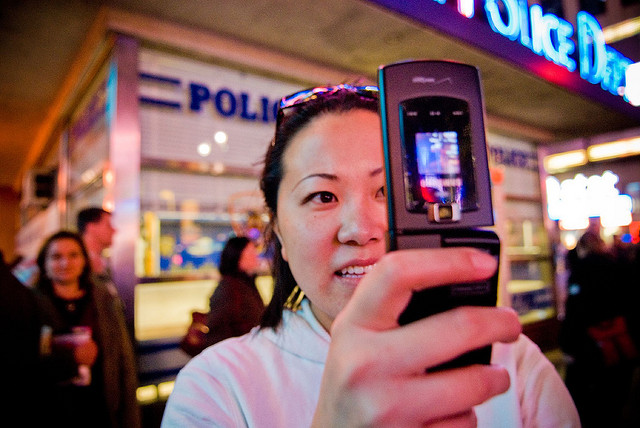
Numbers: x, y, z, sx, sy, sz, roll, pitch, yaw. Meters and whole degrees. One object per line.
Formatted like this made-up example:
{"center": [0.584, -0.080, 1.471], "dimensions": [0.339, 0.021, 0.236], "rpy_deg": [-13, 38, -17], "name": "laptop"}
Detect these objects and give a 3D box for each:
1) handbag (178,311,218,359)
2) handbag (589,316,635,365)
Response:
{"center": [-1.165, 1.267, 5.286], "dimensions": [0.525, 0.428, 0.433], "rpy_deg": [-6, -14, 40], "name": "handbag"}
{"center": [3.115, 1.348, 5.321], "dimensions": [0.434, 0.441, 0.106], "rpy_deg": [-19, -14, 11], "name": "handbag"}
